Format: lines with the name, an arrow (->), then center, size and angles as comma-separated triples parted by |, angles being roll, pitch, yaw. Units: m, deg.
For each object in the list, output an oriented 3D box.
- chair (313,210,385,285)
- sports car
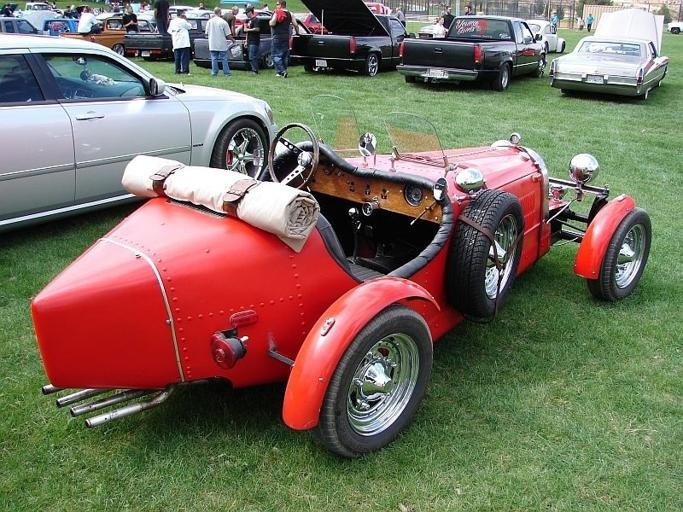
chair -> 0.007, -0.055, 3.588 | 0.340, 0.394, 0.237 | -26, 8, -39
sports car -> 0.218, -0.115, 4.081 | 4.318, 1.800, 2.211 | -24, 38, -39
